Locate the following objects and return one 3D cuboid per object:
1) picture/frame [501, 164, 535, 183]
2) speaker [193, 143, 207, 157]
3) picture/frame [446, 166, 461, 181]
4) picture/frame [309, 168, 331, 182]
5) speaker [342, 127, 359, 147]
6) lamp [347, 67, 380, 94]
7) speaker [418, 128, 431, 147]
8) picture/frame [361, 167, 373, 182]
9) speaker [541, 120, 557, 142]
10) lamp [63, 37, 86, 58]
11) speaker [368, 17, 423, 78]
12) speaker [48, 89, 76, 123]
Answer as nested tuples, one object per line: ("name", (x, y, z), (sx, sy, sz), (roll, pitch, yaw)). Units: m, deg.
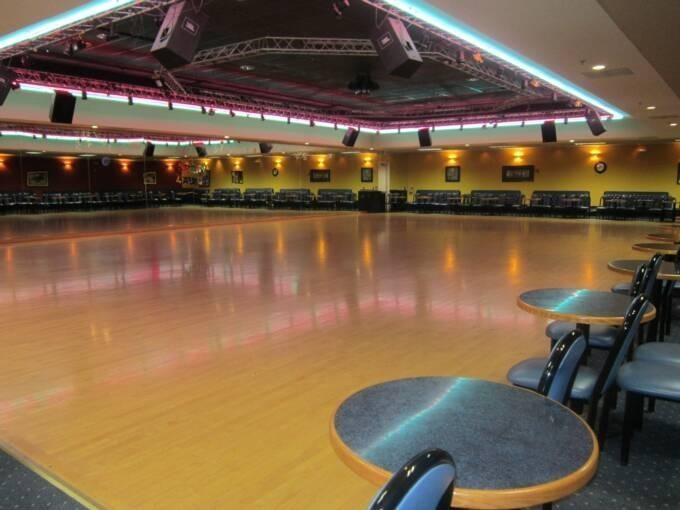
("picture/frame", (8.483, -3.905, 21.098), (1.746, 0.899, 0.922), (2, 4, 37))
("speaker", (-6.084, -4.625, 19.176), (0.391, 0.561, 0.873), (-3, 12, -11))
("picture/frame", (5.774, -4.274, 22.662), (1.015, 0.821, 0.133), (3, 3, 34))
("picture/frame", (-1.082, -4.500, 24.288), (1.058, 0.557, 0.098), (1, 3, 16))
("speaker", (0.420, -5.018, 18.469), (0.564, 0.695, 0.670), (-1, 12, -5))
("lamp", (0.653, -4.781, 12.139), (0.677, 0.420, 0.587), (-1, 21, -9))
("speaker", (3.526, -4.977, 18.456), (0.452, 0.651, 1.689), (3, 11, 15))
("picture/frame", (1.388, -4.289, 23.045), (0.986, 0.775, 0.121), (3, 6, 21))
("speaker", (7.516, -4.547, 15.999), (0.463, 0.659, 0.575), (5, 13, 23))
("lamp", (-5.425, -4.350, 9.064), (0.485, 0.184, 0.608), (-5, 0, -37))
("speaker", (0.748, -2.769, 5.695), (0.559, 0.745, 0.373), (8, 16, 33))
("speaker", (-6.969, -3.759, 11.078), (0.510, 0.729, 0.557), (-11, 16, -39))
